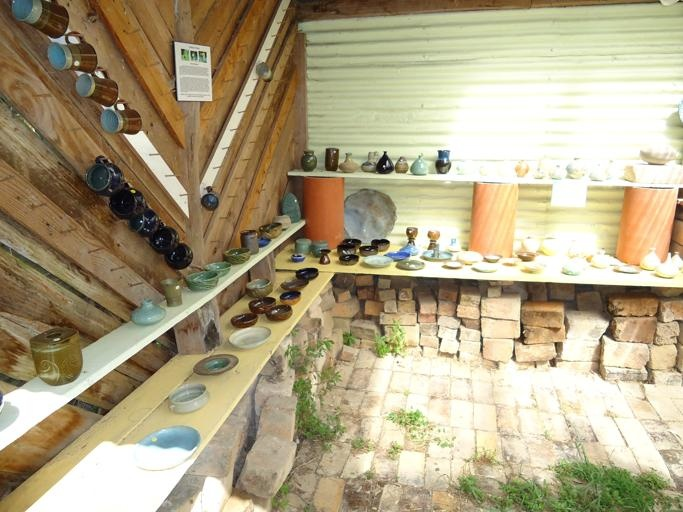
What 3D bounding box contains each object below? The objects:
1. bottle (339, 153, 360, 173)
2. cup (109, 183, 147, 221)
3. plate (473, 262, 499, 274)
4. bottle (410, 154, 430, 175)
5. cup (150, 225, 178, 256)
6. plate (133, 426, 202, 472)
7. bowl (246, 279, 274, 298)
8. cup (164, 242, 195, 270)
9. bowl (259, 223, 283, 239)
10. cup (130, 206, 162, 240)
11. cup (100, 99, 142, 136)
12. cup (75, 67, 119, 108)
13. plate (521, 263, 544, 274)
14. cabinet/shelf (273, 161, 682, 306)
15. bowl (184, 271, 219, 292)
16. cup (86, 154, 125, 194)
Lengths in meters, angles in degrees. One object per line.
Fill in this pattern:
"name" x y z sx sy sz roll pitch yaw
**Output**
"bottle" 0.056 -1.106 5.216 0.286 0.222 0.259 0 11 -9
"cup" -1.325 -0.335 2.705 0.225 0.191 0.118 -5 17 -10
"plate" 1.592 0.124 4.785 0.235 0.100 0.315 7 7 38
"bottle" 0.898 -1.064 5.108 0.265 0.230 0.243 0 4 5
"cup" -1.208 -0.106 2.956 0.176 0.187 0.101 -3 1 -6
"plate" -1.042 1.119 2.630 0.401 0.079 0.358 -4 20 -6
"bowl" -0.775 0.301 4.129 0.202 0.095 0.189 0 3 0
"cup" -1.151 0.005 3.084 0.204 0.190 0.127 -25 40 -1
"bowl" -0.707 -0.260 4.438 0.192 0.085 0.192 0 7 0
"cup" -1.265 -0.213 2.810 0.195 0.160 0.171 9 3 9
"cup" -1.350 -0.837 2.634 0.195 0.162 0.261 -5 25 -44
"cup" -1.436 -0.946 2.472 0.165 0.230 0.185 -7 7 24
"plate" 2.032 0.125 4.648 0.208 0.109 0.136 4 7 19
"cabinet/shelf" 1.710 -0.353 4.874 4.020 1.359 0.872 3 7 8
"bowl" -1.035 0.176 3.255 0.182 0.069 0.183 1 8 0
"cup" -1.380 -0.468 2.527 0.208 0.222 0.151 -11 15 2
